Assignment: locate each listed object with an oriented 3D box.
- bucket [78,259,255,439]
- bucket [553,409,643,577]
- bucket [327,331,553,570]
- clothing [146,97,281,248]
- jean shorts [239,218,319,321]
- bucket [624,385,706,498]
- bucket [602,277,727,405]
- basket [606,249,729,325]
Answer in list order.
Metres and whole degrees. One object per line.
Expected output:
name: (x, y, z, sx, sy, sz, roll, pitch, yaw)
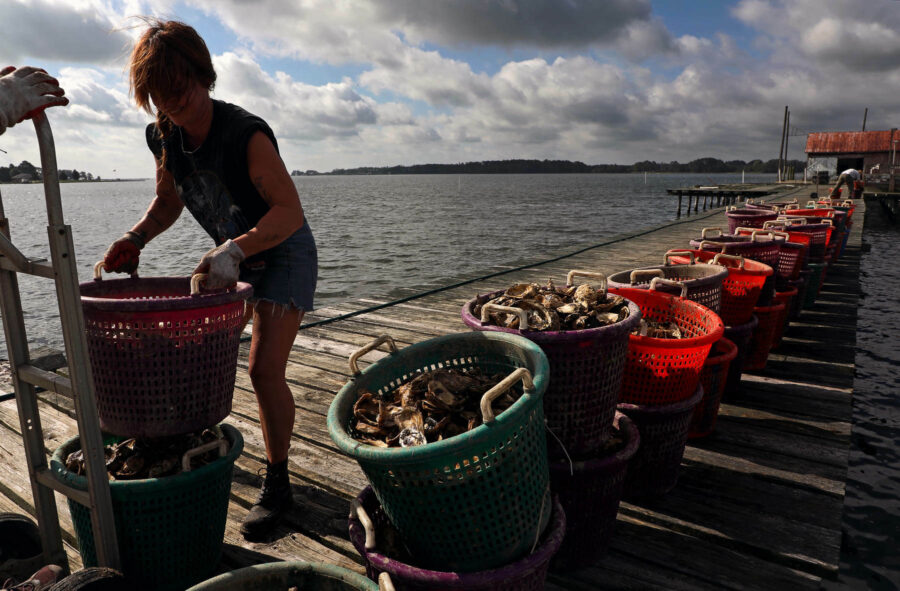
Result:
bucket: (-1.416, 0.238, 3.155, 0.873, 0.703, 0.869, 1, 3, 0)
bucket: (0.813, 1.078, 3.327, 0.639, 0.470, 0.632, -3, 9, 0)
bucket: (0.000, 0.708, 2.754, 0.888, 0.939, 0.791, 9, 18, 28)
clothing: (-1.277, -0.658, 3.256, 0.691, 0.788, 0.187, 7, 18, 24)
jean shorts: (-0.955, -0.143, 3.212, 0.290, 0.463, 0.495, -20, -12, 19)
bucket: (1.264, 0.872, 3.726, 0.586, 0.422, 0.577, -19, 0, 0)
bucket: (1.310, 0.293, 3.695, 0.797, 0.538, 0.771, 1, 15, 0)
basket: (1.554, -0.109, 4.220, 0.729, 0.304, 0.546, 3, 15, 40)
